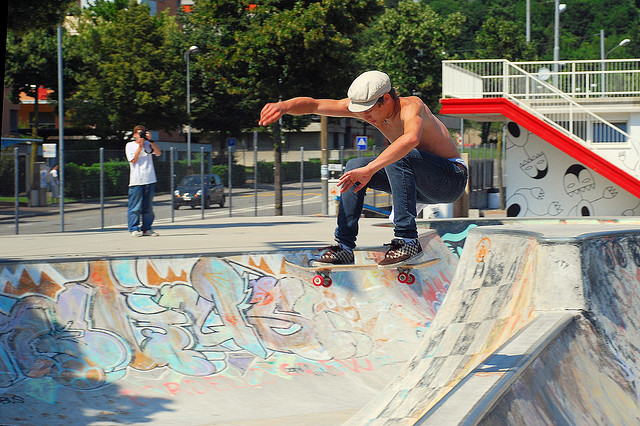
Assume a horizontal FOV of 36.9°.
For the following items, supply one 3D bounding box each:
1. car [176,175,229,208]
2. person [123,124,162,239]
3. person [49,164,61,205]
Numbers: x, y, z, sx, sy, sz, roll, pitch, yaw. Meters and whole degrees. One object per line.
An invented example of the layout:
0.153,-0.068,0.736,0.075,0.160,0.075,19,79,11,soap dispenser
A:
-3.484,-0.609,28.111,1.076,1.121,5.320,-2,4,-2,car
-3.654,-0.712,19.930,0.887,2.248,0.818,-2,-2,-31,person
-6.247,-0.686,22.399,0.204,0.930,0.392,-3,5,-13,person
